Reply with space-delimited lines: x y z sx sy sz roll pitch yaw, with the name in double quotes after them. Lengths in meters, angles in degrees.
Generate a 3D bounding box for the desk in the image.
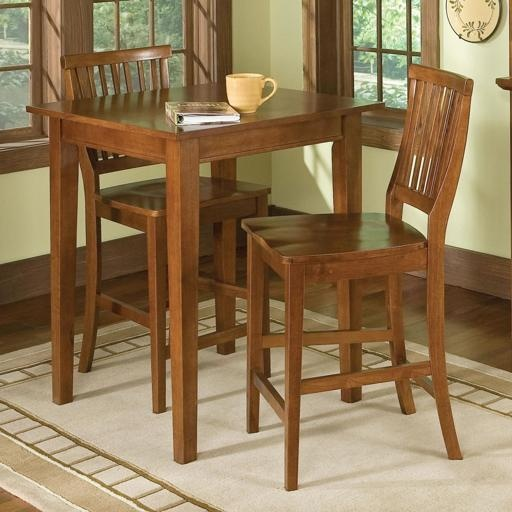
-0.033 0.003 2.328 1.470 1.200 1.141 -13 19 -41 "desk"

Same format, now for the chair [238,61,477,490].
0.254 0.030 1.531 0.597 0.865 0.429 -10 14 -12 "chair"

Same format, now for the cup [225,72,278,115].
-0.019 -0.457 1.677 0.167 0.086 0.099 -3 17 -5 "cup"
